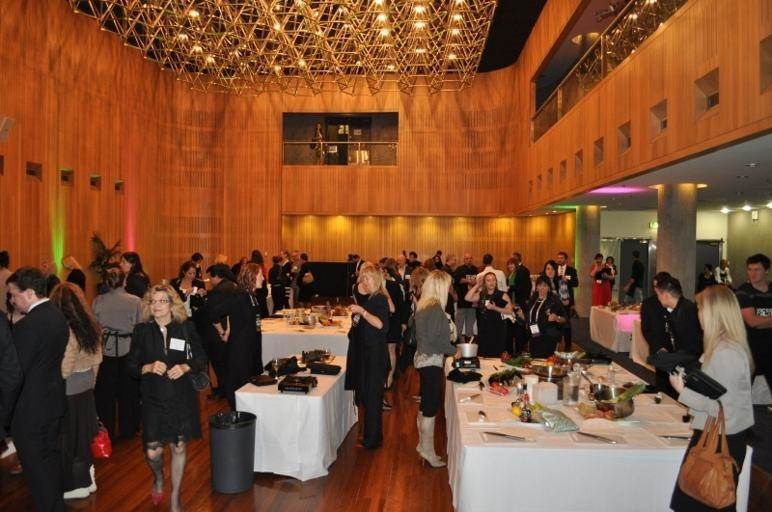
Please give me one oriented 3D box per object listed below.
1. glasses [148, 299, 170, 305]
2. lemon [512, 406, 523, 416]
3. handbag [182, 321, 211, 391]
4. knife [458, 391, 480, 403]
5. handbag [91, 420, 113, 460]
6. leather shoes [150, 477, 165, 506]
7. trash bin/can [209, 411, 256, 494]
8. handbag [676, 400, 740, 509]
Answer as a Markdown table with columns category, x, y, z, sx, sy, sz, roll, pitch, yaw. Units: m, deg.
| category | x | y | z | sx | sy | sz | roll | pitch | yaw |
| --- | --- | --- | --- | --- | --- | --- | --- | --- | --- |
| glasses | -2.361 | 0.487 | 6.204 | 0.171 | 0.047 | 0.052 | -2 | 0 | -24 |
| lemon | 1.317 | 1.555 | 5.916 | 0.070 | 0.090 | 0.071 | 0 | 0 | 44 |
| handbag | -2.014 | 1.047 | 6.315 | 0.189 | 0.639 | 0.423 | -11 | 6 | -12 |
| knife | 0.907 | 1.520 | 6.331 | 0.245 | 0.042 | 0.273 | -2 | 0 | 6 |
| handbag | -3.424 | 2.191 | 7.100 | 0.183 | 0.447 | 0.325 | -7 | 4 | -35 |
| leather shoes | -2.475 | 2.559 | 6.415 | 0.096 | 0.142 | 0.335 | 6 | 21 | -21 |
| trash bin/can | -1.718 | 2.217 | 6.662 | 0.509 | 0.700 | 0.331 | -2 | 1 | -17 |
| handbag | 2.877 | 1.814 | 5.244 | 0.503 | 0.926 | 0.234 | -1 | 1 | 0 |
